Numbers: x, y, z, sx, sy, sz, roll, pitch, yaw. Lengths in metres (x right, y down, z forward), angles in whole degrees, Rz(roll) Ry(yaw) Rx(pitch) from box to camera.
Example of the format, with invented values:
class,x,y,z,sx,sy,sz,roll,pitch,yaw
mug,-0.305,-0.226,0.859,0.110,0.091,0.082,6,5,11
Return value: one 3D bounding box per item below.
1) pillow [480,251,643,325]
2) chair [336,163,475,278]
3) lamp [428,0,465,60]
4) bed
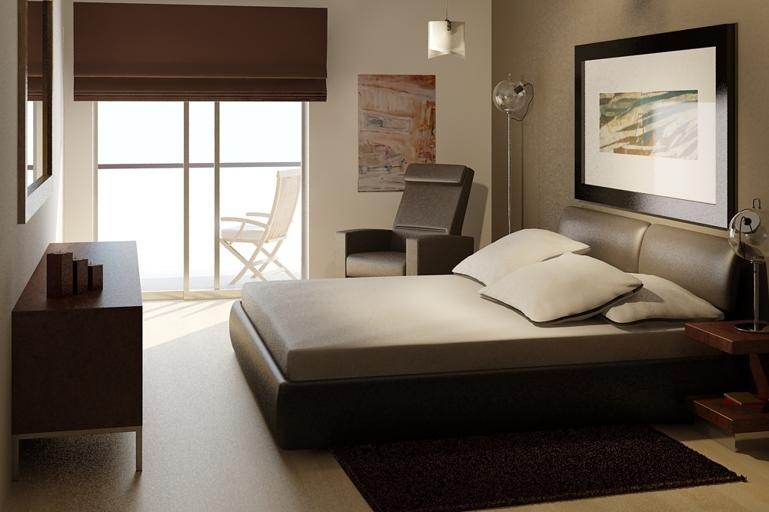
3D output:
class,x,y,z,sx,sy,sz,roll,pitch,yaw
pillow,1.143,0.215,3.905,0.618,0.180,0.545,-25,16,-40
chair,0.226,-0.334,6.395,1.331,1.456,1.305,0,2,-43
lamp,0.560,-1.956,5.323,0.314,0.317,0.148,-1,11,-2
bed,0.574,0.537,3.825,2.368,0.893,1.697,-1,8,-14
